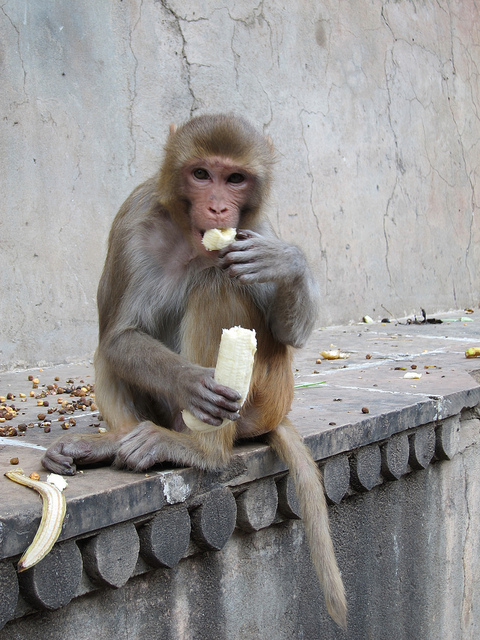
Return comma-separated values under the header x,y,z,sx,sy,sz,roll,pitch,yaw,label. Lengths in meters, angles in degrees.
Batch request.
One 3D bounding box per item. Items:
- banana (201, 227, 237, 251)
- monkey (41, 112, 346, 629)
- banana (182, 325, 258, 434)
x,y,z,sx,sy,sz,roll,pitch,yaw,label
-0.061,-0.245,3.030,0.060,0.047,0.080,9,25,5,banana
-0.112,-0.051,3.166,0.815,1.611,0.937,-3,15,-23,monkey
-0.020,0.156,2.886,0.119,0.262,0.083,22,-8,46,banana
